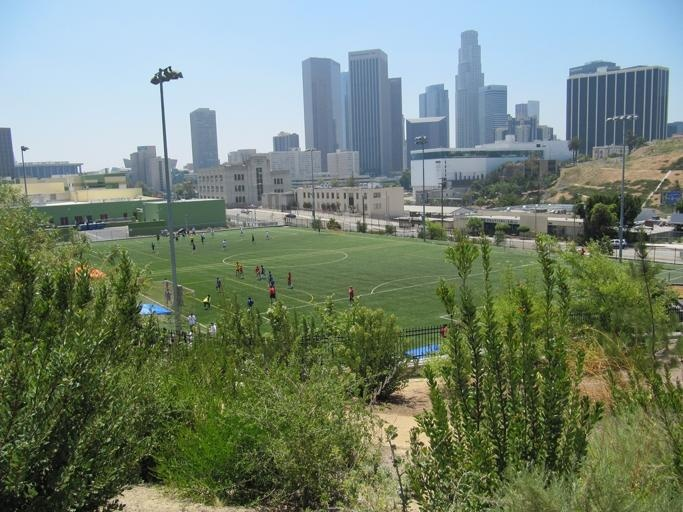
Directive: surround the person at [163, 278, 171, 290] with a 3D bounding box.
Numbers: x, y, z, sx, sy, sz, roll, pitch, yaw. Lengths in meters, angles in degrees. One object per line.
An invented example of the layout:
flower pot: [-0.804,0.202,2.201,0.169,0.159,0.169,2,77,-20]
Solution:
person: [-11.771,1.915,42.500,0.557,0.597,1.039,-4,-26,-19]
